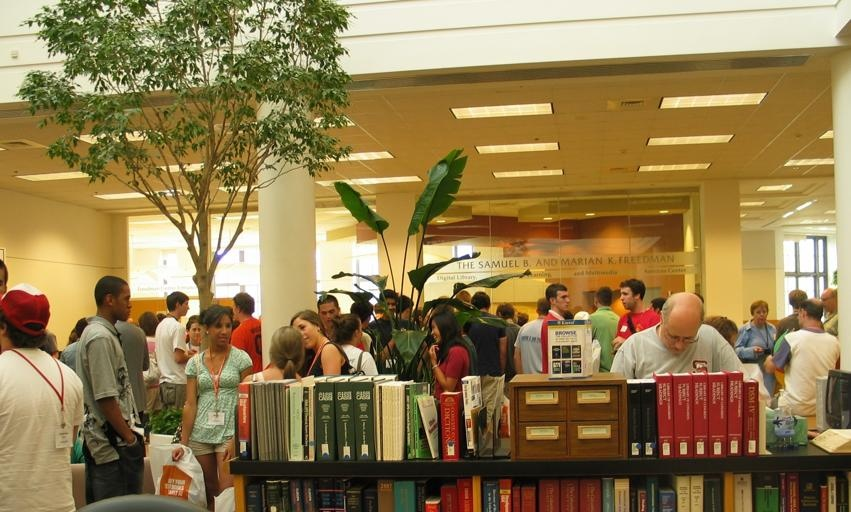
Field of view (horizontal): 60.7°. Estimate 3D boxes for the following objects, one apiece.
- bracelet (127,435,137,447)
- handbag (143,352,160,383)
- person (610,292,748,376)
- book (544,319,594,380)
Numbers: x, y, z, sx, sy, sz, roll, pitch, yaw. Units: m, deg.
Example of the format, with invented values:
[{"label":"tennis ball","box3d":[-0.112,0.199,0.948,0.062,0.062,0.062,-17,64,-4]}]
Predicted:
[{"label":"bracelet","box3d":[-2.897,1.823,7.139,0.083,0.094,0.046,-3,-26,-23]},{"label":"handbag","box3d":[-3.951,1.631,10.492,0.355,0.459,0.468,0,2,-20]},{"label":"person","box3d":[2.925,0.902,8.342,0.980,1.017,0.550,-1,24,8]},{"label":"book","box3d":[1.225,0.786,6.481,0.560,0.590,0.436,-1,3,3]}]
